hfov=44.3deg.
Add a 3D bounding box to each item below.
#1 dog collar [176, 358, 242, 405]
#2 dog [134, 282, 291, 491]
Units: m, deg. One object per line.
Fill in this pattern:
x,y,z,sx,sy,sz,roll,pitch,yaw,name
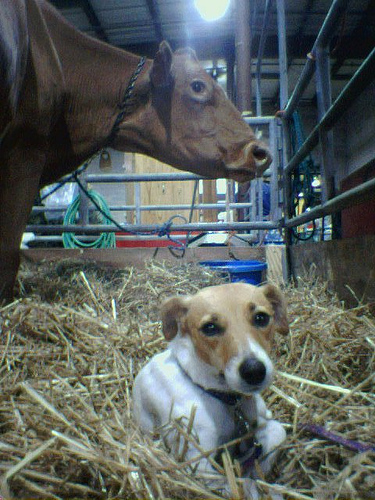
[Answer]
0.055,0.332,1.135,0.166,0.069,0.066,3,2,0,dog collar
0.038,0.297,1.128,0.409,0.302,0.369,4,3,15,dog
